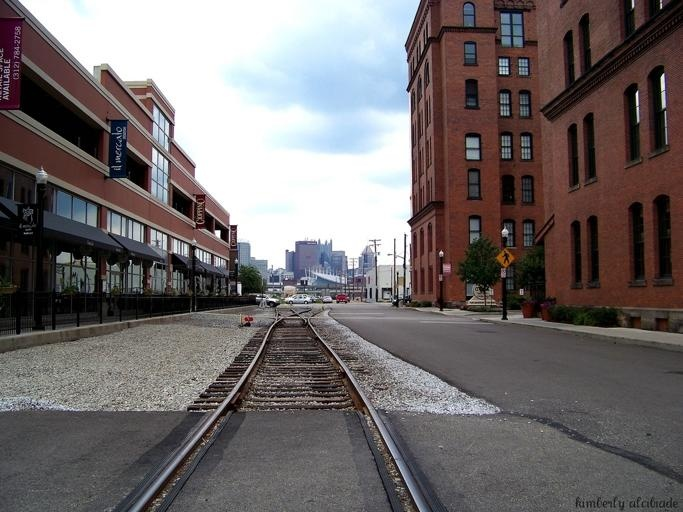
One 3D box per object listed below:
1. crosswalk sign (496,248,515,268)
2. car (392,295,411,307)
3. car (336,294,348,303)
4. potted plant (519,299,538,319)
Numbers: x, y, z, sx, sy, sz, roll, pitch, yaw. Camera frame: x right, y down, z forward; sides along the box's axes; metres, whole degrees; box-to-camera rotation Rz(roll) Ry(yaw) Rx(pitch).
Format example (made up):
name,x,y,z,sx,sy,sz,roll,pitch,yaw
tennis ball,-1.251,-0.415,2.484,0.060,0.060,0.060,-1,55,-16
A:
name,x,y,z,sx,sy,sz,roll,pitch,yaw
crosswalk sign,10.528,0.204,34.715,0.107,1.707,1.568,22,-22,-23
car,7.858,5.989,70.333,2.294,1.104,1.506,-2,-4,23
car,-0.033,7.706,96.417,1.996,1.730,3.511,0,-1,4
potted plant,10.020,2.878,28.890,0.736,0.899,0.783,5,-5,-33
